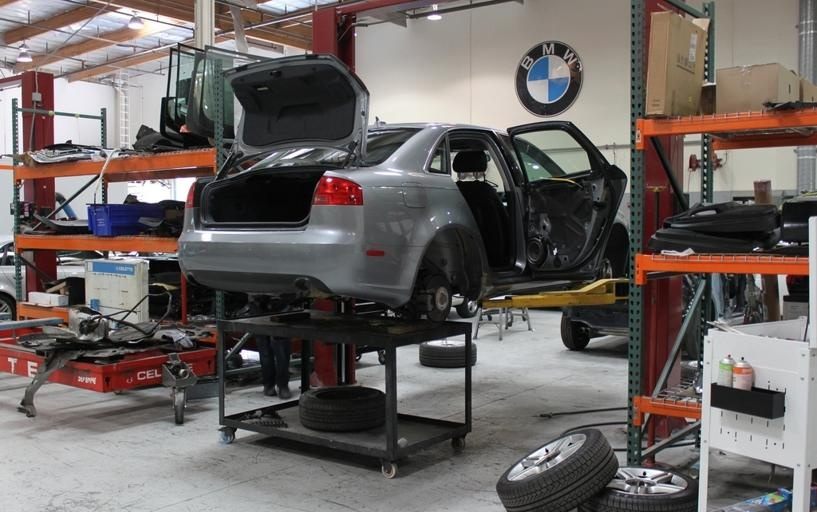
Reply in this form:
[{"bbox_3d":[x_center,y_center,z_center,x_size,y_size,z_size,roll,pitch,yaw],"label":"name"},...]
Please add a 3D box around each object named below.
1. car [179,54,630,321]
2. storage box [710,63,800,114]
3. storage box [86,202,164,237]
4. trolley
[{"bbox_3d":[-0.068,-0.620,6.570,3.725,2.345,1.604,-4,8,-32],"label":"car"},{"bbox_3d":[2.818,-1.266,5.511,0.536,0.285,0.521,2,5,38],"label":"storage box"},{"bbox_3d":[-3.492,-0.455,8.570,0.458,0.286,0.849,4,6,40],"label":"storage box"},{"bbox_3d":[-0.491,0.702,6.461,2.748,1.439,1.425,2,4,35],"label":"trolley"}]
